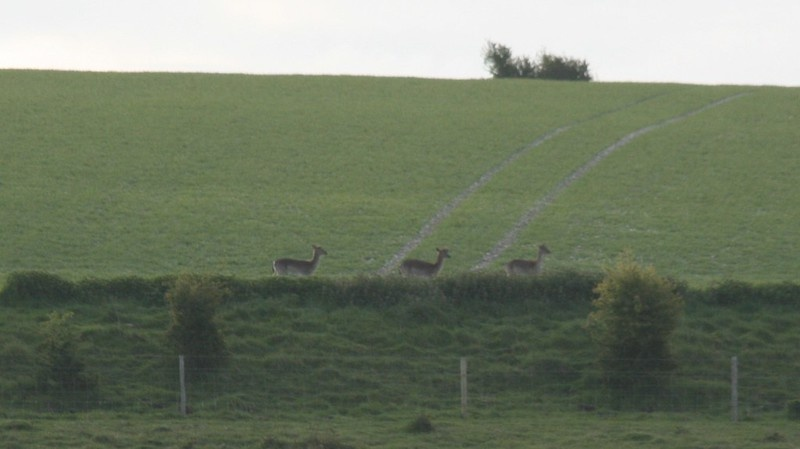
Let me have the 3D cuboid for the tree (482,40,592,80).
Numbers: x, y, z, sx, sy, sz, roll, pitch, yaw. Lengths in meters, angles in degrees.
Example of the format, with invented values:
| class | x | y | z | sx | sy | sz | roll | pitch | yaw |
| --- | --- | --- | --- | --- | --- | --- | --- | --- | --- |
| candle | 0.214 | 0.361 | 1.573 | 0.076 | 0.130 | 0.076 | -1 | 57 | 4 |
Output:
| class | x | y | z | sx | sy | sz | roll | pitch | yaw |
| --- | --- | --- | --- | --- | --- | --- | --- | --- | --- |
| tree | 19.749 | -20.869 | 298.704 | 13.463 | 5.124 | 3.050 | 3 | 0 | 1 |
